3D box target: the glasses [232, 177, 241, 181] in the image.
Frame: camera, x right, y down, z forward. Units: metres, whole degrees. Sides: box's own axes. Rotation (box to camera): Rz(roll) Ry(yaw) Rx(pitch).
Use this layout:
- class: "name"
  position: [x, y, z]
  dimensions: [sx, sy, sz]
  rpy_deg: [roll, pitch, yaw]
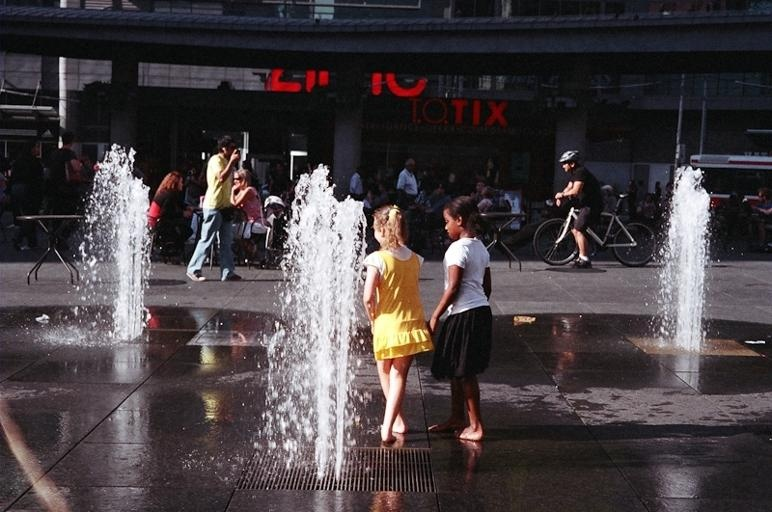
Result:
- class: "glasses"
  position: [-2.745, -1.406, 16.807]
  dimensions: [0.083, 0.114, 0.109]
  rpy_deg: [2, 8, 11]

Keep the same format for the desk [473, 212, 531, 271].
- class: "desk"
  position: [2.286, -0.288, 18.804]
  dimensions: [0.935, 1.067, 0.964]
  rpy_deg: [1, -4, -12]

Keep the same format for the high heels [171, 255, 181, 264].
- class: "high heels"
  position: [-4.028, 0.068, 17.500]
  dimensions: [0.173, 0.178, 0.153]
  rpy_deg: [-1, 8, -24]

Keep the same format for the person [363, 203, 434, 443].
- class: "person"
  position: [0.083, 0.685, 9.328]
  dimensions: [0.654, 2.291, 0.585]
  rpy_deg: [-2, 13, -11]

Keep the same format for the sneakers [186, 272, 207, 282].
- class: "sneakers"
  position: [-3.305, 0.335, 15.716]
  dimensions: [0.350, 0.144, 0.142]
  rpy_deg: [22, 15, 31]

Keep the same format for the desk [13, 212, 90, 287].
- class: "desk"
  position: [-5.593, -0.111, 15.370]
  dimensions: [1.138, 1.114, 1.169]
  rpy_deg: [0, 1, -37]

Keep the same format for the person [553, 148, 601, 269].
- class: "person"
  position: [3.714, -0.855, 17.916]
  dimensions: [0.887, 2.267, 0.896]
  rpy_deg: [2, 13, 5]
